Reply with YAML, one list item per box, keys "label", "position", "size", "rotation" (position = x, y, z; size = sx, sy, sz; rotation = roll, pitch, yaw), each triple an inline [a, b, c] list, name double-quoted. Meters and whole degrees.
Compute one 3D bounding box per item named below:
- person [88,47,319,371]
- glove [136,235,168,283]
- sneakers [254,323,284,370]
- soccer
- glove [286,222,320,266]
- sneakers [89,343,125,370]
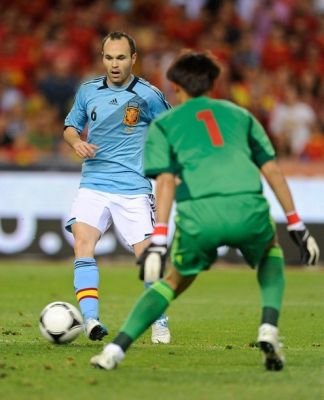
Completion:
- label: "person"
  position: [0.266, 0.033, 2.638]
  size: [1.092, 1.578, 0.592]
  rotation: [4, 8, 1]
- label: "glove"
  position: [-0.043, 0.297, 2.515]
  size: [0.156, 0.174, 0.082]
  rotation: [8, -5, -1]
- label: "sneakers"
  position: [0.545, 0.700, 2.510]
  size: [0.115, 0.274, 0.119]
  rotation: [-8, 51, 16]
- label: "soccer"
  position: [-0.661, 0.804, 3.428]
  size: [0.280, 0.230, 0.239]
  rotation: [2, 7, -6]
- label: "glove"
  position: [0.831, 0.236, 2.898]
  size: [0.132, 0.221, 0.160]
  rotation: [-14, -20, -24]
- label: "sneakers"
  position: [-0.257, 0.724, 2.481]
  size: [0.084, 0.058, 0.146]
  rotation: [14, 34, 36]
